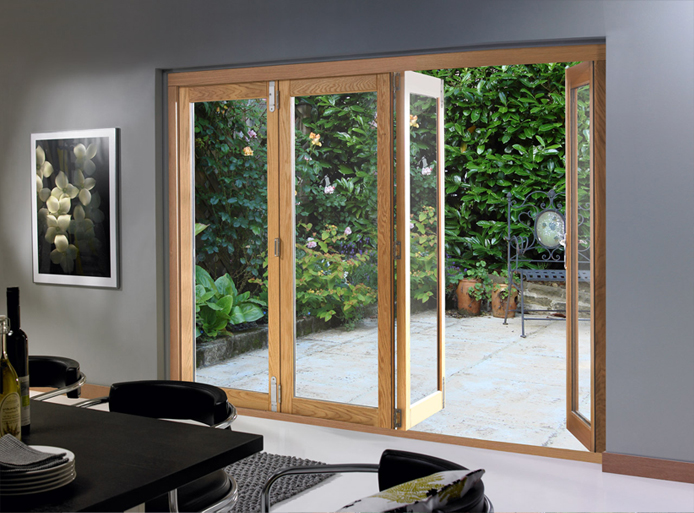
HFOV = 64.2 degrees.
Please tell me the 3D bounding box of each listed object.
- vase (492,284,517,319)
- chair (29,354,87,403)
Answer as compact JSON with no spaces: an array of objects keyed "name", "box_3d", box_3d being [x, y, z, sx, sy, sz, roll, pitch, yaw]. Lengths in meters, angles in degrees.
[{"name":"vase","box_3d":[2.252,0.631,7.893,0.426,0.431,0.409,-1,5,-23]},{"name":"chair","box_3d":[-1.391,0.569,2.628,0.333,0.185,0.225,2,3,-2]}]
